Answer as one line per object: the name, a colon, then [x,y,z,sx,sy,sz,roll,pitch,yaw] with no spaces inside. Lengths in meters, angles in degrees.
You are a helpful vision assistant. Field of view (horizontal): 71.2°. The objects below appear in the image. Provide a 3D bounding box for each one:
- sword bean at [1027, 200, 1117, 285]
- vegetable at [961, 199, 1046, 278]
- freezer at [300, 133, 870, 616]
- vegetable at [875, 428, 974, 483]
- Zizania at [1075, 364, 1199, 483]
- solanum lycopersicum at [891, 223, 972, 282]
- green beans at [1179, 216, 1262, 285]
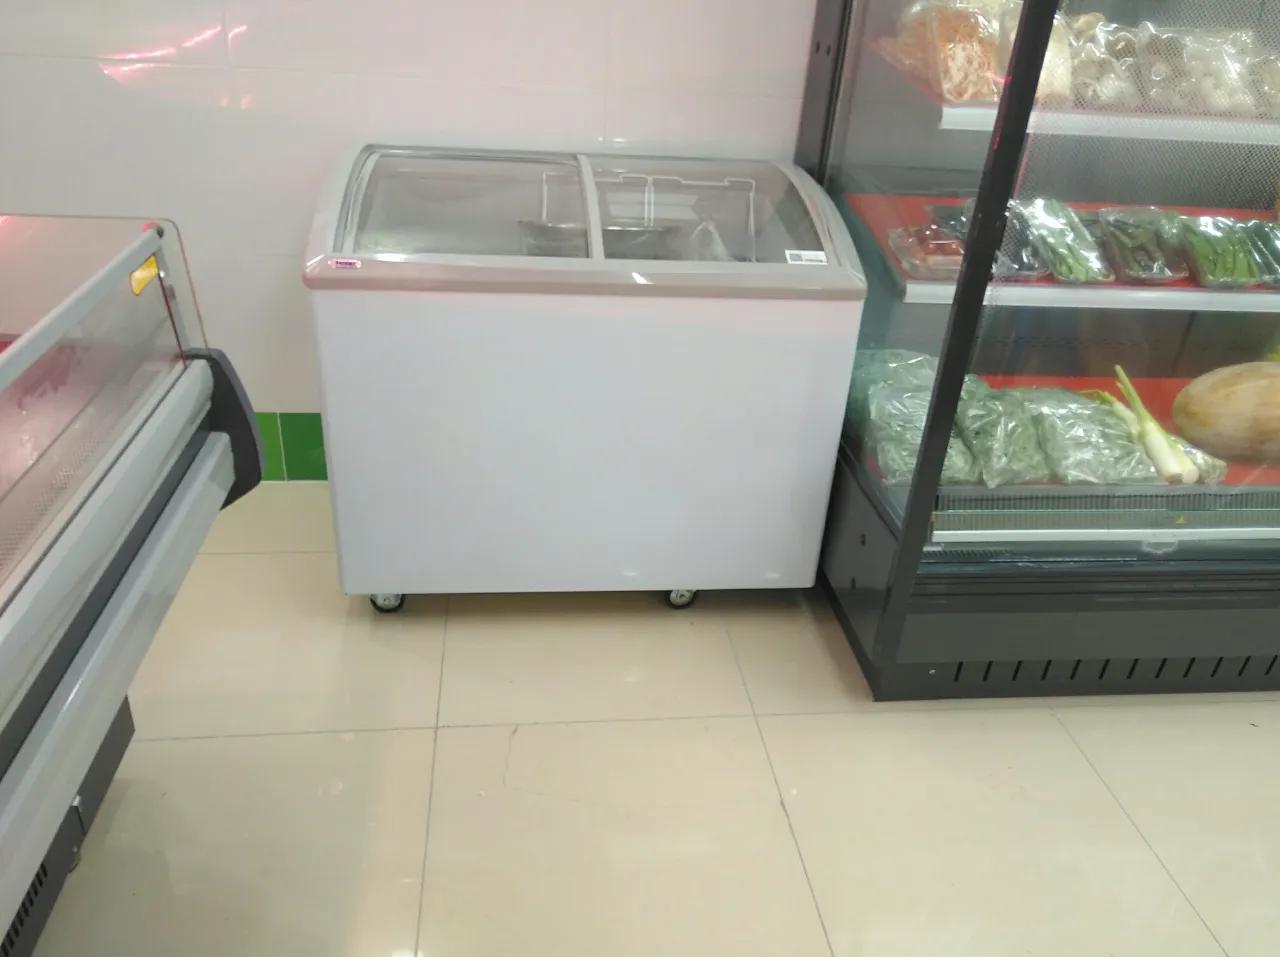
sword bean: [0.879,-0.478,1.832,0.118,0.202,0.037,-32,19,0]
vegetable: [0.783,-0.484,1.825,0.128,0.157,0.054,-10,37,-13]
freezer: [-0.169,-0.412,2.796,1.362,1.167,1.313,0,33,-5]
vegetable: [0.660,-0.048,2.059,0.125,0.131,0.047,7,6,29]
Zizania: [1.145,-0.118,2.071,0.069,0.072,0.267,-29,72,-6]
solanum lycopersicum: [0.636,-0.492,1.935,0.126,0.042,0.139,3,46,5]
green beans: [1.242,-0.482,1.904,0.200,0.132,0.063,-2,36,-3]
